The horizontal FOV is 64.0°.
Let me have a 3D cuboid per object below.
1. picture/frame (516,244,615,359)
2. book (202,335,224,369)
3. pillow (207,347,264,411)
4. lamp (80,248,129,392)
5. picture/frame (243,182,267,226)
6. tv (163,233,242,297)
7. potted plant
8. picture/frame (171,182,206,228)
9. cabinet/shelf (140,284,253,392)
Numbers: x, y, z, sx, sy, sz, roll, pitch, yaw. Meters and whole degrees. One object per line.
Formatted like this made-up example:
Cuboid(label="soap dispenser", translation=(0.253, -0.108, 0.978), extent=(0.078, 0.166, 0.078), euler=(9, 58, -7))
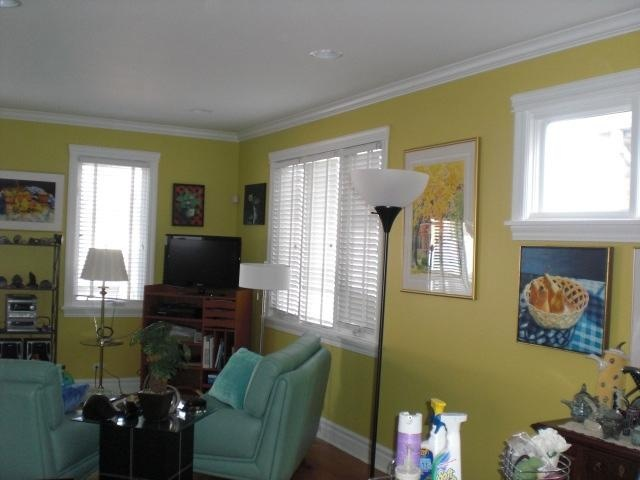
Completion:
Cuboid(label="picture/frame", translation=(1.589, 0.391, 3.266), extent=(0.078, 0.859, 0.670), euler=(1, 3, -42))
Cuboid(label="book", translation=(-1.208, 1.224, 5.784), extent=(0.280, 0.443, 0.326), euler=(1, 2, -1))
Cuboid(label="pillow", translation=(-0.707, 1.138, 4.215), extent=(0.126, 0.424, 0.429), euler=(31, -4, -25))
Cuboid(label="lamp", translation=(-2.306, 0.856, 5.424), extent=(0.423, 1.510, 0.429), euler=(2, 0, -34))
Cuboid(label="picture/frame", translation=(-0.777, -0.439, 6.169), extent=(0.028, 0.629, 0.521), euler=(2, -1, -37))
Cuboid(label="tv", translation=(-1.350, 0.290, 5.886), extent=(0.627, 0.496, 0.171), euler=(4, 1, 4))
Cuboid(label="potted plant", translation=(-1.370, 1.247, 4.953), extent=(0.458, 0.900, 0.570), euler=(-3, 3, 2))
Cuboid(label="picture/frame", translation=(-1.655, -0.441, 6.318), extent=(0.519, 0.735, 0.090), euler=(1, 0, -34))
Cuboid(label="cabinet/shelf", translation=(-1.290, 1.009, 5.366), extent=(1.175, 1.482, 0.428), euler=(-1, -4, 11))
